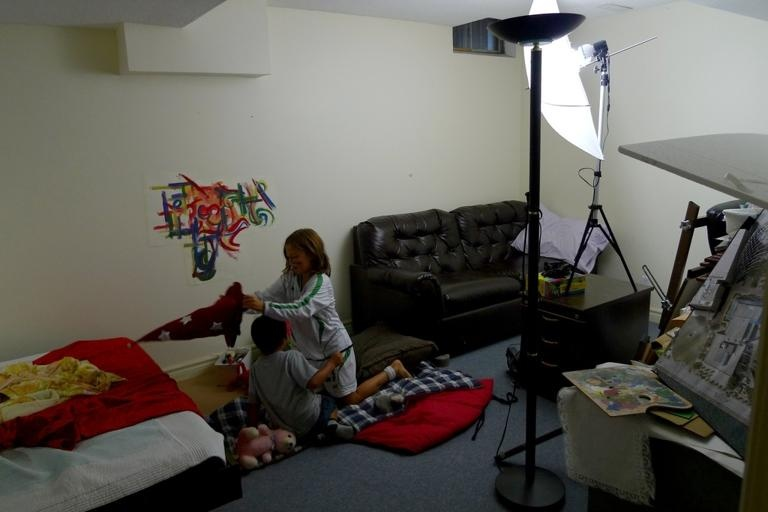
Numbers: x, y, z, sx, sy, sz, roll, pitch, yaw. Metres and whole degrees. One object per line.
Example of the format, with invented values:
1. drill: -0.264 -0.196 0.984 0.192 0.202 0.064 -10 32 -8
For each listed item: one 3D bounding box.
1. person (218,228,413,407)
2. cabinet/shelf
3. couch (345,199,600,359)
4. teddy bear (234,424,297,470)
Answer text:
1. person: -0.399 0.459 3.573 1.410 1.224 0.564 4 -5 -32
2. cabinet/shelf: 1.305 0.496 3.918 0.884 0.950 0.594 -11 17 -40
3. couch: 0.870 0.125 4.935 2.219 1.133 1.002 -11 10 -37
4. teddy bear: -0.713 1.121 3.134 0.333 0.203 0.135 -1 -20 -39
